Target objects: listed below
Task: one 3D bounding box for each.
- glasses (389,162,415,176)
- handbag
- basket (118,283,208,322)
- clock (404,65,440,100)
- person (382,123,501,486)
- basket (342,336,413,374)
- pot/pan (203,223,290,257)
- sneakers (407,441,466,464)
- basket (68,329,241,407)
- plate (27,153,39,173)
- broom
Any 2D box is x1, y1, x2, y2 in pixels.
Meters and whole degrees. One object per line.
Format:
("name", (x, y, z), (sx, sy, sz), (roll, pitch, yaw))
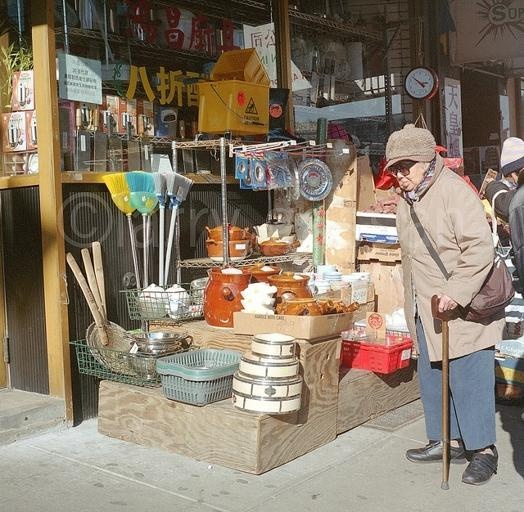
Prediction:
("glasses", (0.647, -0.432, 2.942), (0.073, 0.074, 0.027), (-20, 20, 41))
("handbag", (1.029, 0.153, 2.850), (0.266, 0.330, 0.126), (-2, 4, -18))
("basket", (-0.629, 0.299, 3.917), (0.489, 0.248, 0.425), (-1, 4, -10))
("clock", (1.751, -2.025, 7.101), (0.427, 0.384, 0.074), (-8, 14, -23))
("person", (0.855, 0.218, 2.980), (0.537, 1.744, 0.525), (1, 5, 21))
("basket", (0.688, 0.596, 3.838), (0.248, 0.129, 0.360), (3, 3, 39))
("pot/pan", (-0.146, -0.134, 4.704), (0.588, 0.241, 0.964), (1, 4, 17))
("sneakers", (0.856, 1.007, 3.229), (0.348, 0.135, 0.120), (2, -4, 6))
("basket", (-0.575, 0.633, 3.551), (0.967, 0.243, 0.448), (3, 5, 33))
("plate", (-1.413, -0.586, 3.797), (0.019, 0.126, 0.105), (-4, 6, -43))
("broom", (-0.734, -0.294, 3.972), (0.379, 0.993, 0.348), (-2, 1, 36))
